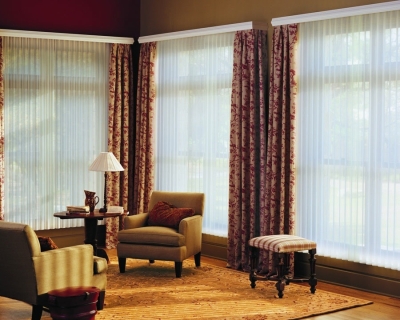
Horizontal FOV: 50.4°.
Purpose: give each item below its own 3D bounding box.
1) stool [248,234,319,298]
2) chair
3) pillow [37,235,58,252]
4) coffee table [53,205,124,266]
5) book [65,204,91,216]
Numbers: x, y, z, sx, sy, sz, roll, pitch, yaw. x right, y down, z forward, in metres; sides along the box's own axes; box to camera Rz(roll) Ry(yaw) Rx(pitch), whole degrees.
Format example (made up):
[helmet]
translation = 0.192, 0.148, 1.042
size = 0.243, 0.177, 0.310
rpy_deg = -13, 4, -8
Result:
[stool]
translation = 0.981, 1.245, 5.100
size = 0.648, 0.584, 0.663
rpy_deg = 3, -7, -22
[chair]
translation = -0.524, 0.961, 5.806
size = 1.248, 0.977, 1.260
rpy_deg = 1, -3, -23
[pillow]
translation = -1.496, 0.816, 4.142
size = 0.169, 0.077, 0.129
rpy_deg = 2, 2, 13
[coffee table]
translation = -1.491, 0.957, 5.701
size = 0.735, 0.435, 0.739
rpy_deg = -17, -15, 37
[book]
translation = -1.634, 0.663, 5.654
size = 0.304, 0.107, 0.251
rpy_deg = 0, 4, -12
